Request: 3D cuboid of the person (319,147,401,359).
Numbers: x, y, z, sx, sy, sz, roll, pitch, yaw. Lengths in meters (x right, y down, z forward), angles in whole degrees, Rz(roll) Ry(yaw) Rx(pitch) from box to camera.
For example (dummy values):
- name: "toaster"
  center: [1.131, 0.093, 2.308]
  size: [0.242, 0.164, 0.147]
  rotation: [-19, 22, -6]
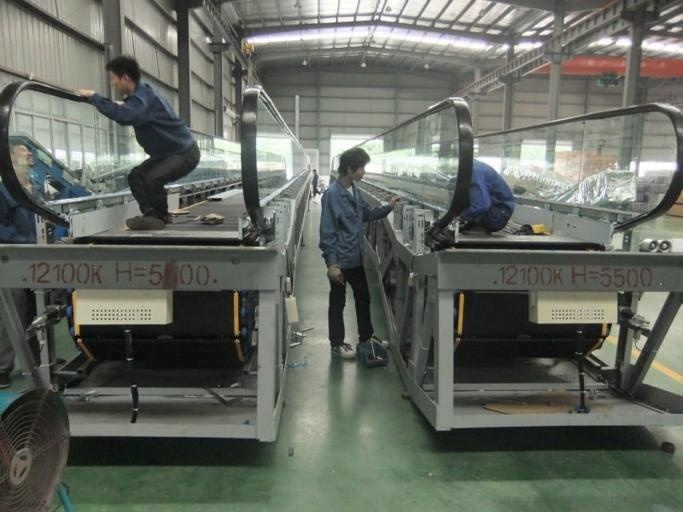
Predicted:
- name: "person"
  center: [0.126, -0.029, 5.749]
  size: [0.672, 1.955, 0.715]
  rotation: [2, 11, 10]

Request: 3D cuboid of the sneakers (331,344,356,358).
- name: "sneakers"
  center: [0.027, 0.905, 5.747]
  size: [0.098, 0.091, 0.244]
  rotation: [0, -3, -36]

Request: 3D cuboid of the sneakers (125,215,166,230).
- name: "sneakers"
  center: [-1.518, -0.257, 4.678]
  size: [0.284, 0.093, 0.278]
  rotation: [-3, 11, -14]

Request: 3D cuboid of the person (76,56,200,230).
- name: "person"
  center: [-1.569, -0.914, 4.825]
  size: [0.451, 1.297, 0.877]
  rotation: [5, 12, 26]
